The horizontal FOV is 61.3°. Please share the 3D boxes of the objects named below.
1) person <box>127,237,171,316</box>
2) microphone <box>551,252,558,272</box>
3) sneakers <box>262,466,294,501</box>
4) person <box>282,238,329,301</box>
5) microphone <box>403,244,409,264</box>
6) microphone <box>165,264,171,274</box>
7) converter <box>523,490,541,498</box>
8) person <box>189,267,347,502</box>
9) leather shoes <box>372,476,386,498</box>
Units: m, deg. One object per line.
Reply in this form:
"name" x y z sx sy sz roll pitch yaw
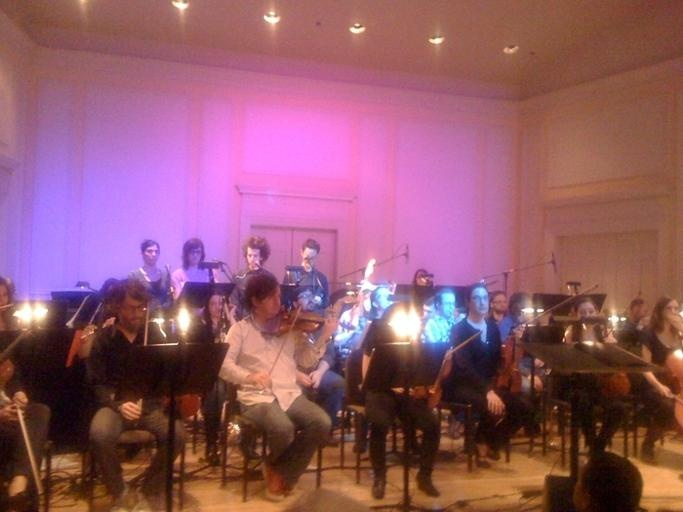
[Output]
"person" -2.563 0.263 7.565 0.757 1.106 0.380 7 -28 -42
"microphone" 4.247 0.123 11.362 0.084 0.363 0.109 -4 -10 -5
"sneakers" -0.572 2.030 5.215 0.254 0.310 0.151 3 -1 -4
"person" -0.586 0.202 8.810 0.770 1.266 0.645 2 -9 -10
"microphone" 1.293 -0.044 11.244 0.103 0.335 0.188 3 -1 16
"microphone" -2.346 0.188 7.763 0.046 0.125 0.254 3 -1 -20
"converter" 1.769 2.177 5.275 0.081 0.022 0.079 -2 -3 -31
"person" -0.587 1.175 5.282 1.045 2.037 0.507 3 -1 -13
"leather shoes" 0.353 2.107 5.286 0.121 0.197 0.155 3 -1 4
